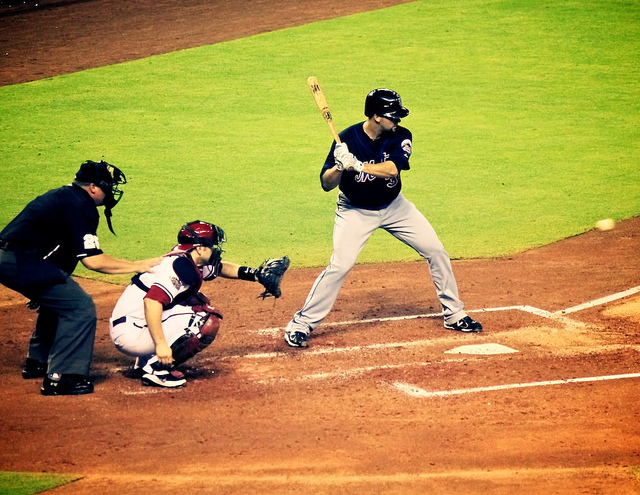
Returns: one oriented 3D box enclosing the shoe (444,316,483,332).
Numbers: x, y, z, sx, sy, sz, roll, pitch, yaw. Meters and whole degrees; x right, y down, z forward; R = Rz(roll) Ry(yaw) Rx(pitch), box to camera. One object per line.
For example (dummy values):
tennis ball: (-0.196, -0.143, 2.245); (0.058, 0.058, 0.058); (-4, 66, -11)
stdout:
shoe: (1.535, 0.831, 10.645); (0.382, 0.123, 0.143); (0, 3, 16)

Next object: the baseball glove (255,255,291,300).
baseball glove: (-0.489, 0.279, 10.243); (0.334, 0.502, 0.212); (11, -15, 1)

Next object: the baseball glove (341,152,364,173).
baseball glove: (0.317, -0.848, 9.890); (0.230, 0.189, 0.105); (1, 15, 1)

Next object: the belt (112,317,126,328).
belt: (-1.948, 0.718, 9.523); (0.108, 0.038, 0.079); (-26, -8, 29)

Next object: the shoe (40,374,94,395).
shoe: (-2.420, 1.320, 9.508); (0.508, 0.165, 0.199); (-1, 6, -7)
